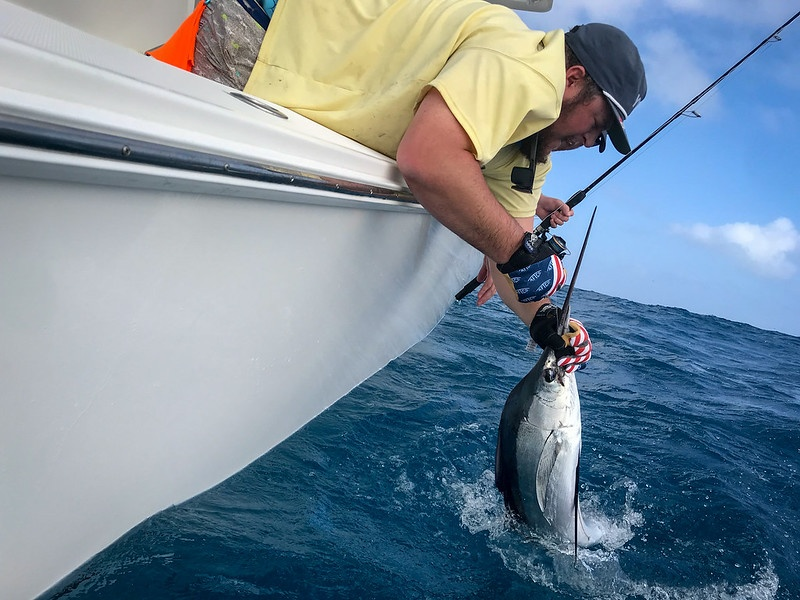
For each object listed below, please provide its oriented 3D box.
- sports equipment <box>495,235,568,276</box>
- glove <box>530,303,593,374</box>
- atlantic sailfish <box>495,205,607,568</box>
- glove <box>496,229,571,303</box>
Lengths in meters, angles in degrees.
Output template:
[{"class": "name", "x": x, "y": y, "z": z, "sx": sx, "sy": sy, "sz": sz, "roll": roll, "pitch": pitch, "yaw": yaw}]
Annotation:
[{"class": "sports equipment", "x": 0.411, "y": -0.143, "z": 1.646, "sx": 0.082, "sy": 0.187, "sz": 0.113, "roll": 54, "pitch": 42, "yaw": -11}, {"class": "glove", "x": 0.583, "y": 0.187, "z": 1.959, "sx": 0.259, "sy": 0.120, "sz": 0.203, "roll": 55, "pitch": 40, "yaw": 4}, {"class": "atlantic sailfish", "x": 0.592, "y": 0.419, "z": 2.061, "sx": 0.281, "sy": 1.402, "sz": 0.274, "roll": 16, "pitch": -4, "yaw": 16}, {"class": "glove", "x": 0.478, "y": -0.071, "z": 1.830, "sx": 0.172, "sy": 0.212, "sz": 0.097, "roll": 42, "pitch": 25, "yaw": -43}]
